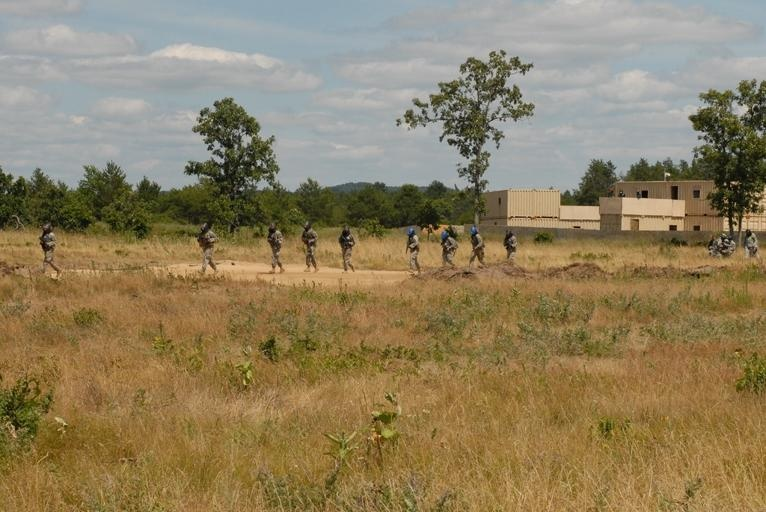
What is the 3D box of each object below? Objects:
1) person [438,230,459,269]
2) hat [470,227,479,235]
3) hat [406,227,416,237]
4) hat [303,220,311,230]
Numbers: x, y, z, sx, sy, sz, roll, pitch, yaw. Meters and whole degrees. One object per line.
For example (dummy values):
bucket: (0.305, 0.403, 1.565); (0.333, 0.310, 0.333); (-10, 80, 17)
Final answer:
person: (2.699, -0.311, 45.462); (0.632, 1.787, 0.656); (8, 19, 18)
hat: (3.694, -1.118, 44.476); (0.315, 0.469, 0.491); (-1, -2, 11)
hat: (1.162, -1.069, 44.940); (0.276, 0.415, 0.419); (4, 49, 5)
hat: (-3.119, -1.336, 45.259); (0.185, 0.312, 0.424); (-9, -15, -13)
